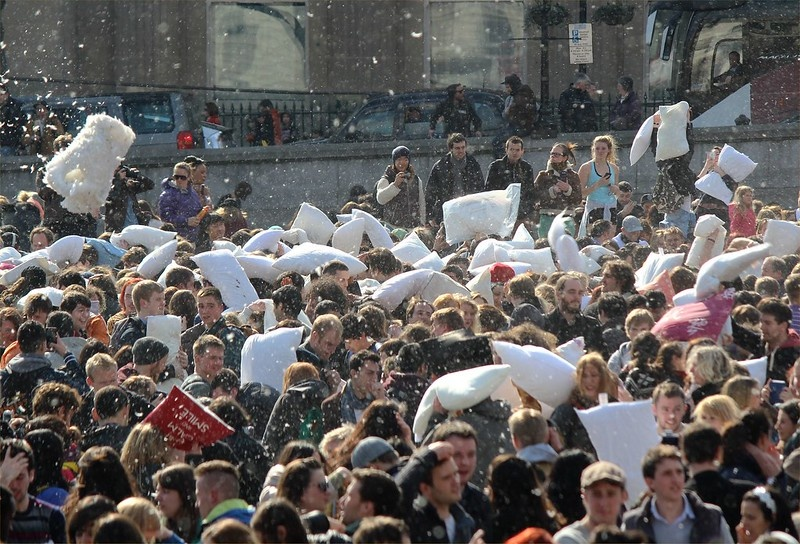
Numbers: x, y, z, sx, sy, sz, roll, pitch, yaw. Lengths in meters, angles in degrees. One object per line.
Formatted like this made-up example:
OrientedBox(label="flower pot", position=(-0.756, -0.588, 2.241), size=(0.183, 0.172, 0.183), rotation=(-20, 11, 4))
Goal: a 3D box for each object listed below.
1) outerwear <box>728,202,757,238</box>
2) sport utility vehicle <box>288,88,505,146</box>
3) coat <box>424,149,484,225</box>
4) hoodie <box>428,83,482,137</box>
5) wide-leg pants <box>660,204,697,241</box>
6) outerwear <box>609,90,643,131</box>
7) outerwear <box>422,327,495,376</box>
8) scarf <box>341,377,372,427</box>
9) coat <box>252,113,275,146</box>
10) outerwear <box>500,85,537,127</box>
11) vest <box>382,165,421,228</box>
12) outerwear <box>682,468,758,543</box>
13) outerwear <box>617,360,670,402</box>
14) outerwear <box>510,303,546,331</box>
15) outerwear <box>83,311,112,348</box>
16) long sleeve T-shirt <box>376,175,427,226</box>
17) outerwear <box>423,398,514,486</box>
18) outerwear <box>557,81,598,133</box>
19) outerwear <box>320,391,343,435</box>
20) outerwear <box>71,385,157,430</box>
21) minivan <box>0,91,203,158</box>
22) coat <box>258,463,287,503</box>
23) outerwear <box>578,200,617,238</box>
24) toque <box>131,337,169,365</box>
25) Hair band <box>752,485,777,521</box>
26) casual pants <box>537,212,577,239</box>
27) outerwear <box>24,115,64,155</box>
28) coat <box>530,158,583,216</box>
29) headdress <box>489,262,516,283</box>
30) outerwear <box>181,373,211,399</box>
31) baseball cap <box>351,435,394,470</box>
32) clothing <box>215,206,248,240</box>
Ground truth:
OrientedBox(label="outerwear", position=(4.721, -0.647, 28.739), size=(0.499, 0.500, 0.289), rotation=(3, -10, -40))
OrientedBox(label="sport utility vehicle", position=(0.328, -2.412, 33.224), size=(2.621, 1.263, 1.142), rotation=(1, 3, 7))
OrientedBox(label="coat", position=(0.767, -1.081, 29.030), size=(0.818, 1.058, 0.510), rotation=(1, 11, 1))
OrientedBox(label="hoodie", position=(0.863, -2.483, 32.115), size=(0.792, 0.901, 1.130), rotation=(1, 11, 1))
OrientedBox(label="wide-leg pants", position=(3.934, -0.646, 29.333), size=(0.474, 0.394, 0.515), rotation=(2, 11, 9))
OrientedBox(label="outerwear", position=(3.647, -2.606, 33.796), size=(0.534, 0.636, 0.590), rotation=(6, 12, 26))
OrientedBox(label="outerwear", position=(0.635, 0.978, 22.810), size=(0.587, 0.417, 0.465), rotation=(-11, -7, 15))
OrientedBox(label="scarf", position=(-0.494, 1.514, 22.423), size=(0.356, 0.421, 0.259), rotation=(7, 13, 29))
OrientedBox(label="coat", position=(-2.253, -2.355, 34.461), size=(0.359, 0.568, 0.271), rotation=(0, 11, 1))
OrientedBox(label="outerwear", position=(1.889, -2.504, 32.017), size=(0.410, 0.749, 0.702), rotation=(2, 9, 24))
OrientedBox(label="vest", position=(0.069, -1.085, 29.129), size=(0.665, 0.941, 0.500), rotation=(-14, 39, -16))
OrientedBox(label="outerwear", position=(3.261, 2.428, 20.935), size=(0.864, 0.643, 0.323), rotation=(18, -19, -2))
OrientedBox(label="outerwear", position=(2.720, 1.253, 23.007), size=(0.452, 0.181, 0.532), rotation=(-11, 10, 13))
OrientedBox(label="outerwear", position=(1.493, 0.586, 24.090), size=(0.356, 0.500, 0.279), rotation=(3, 8, 16))
OrientedBox(label="outerwear", position=(-3.482, 0.752, 24.050), size=(0.333, 0.344, 0.130), rotation=(-24, 9, -29))
OrientedBox(label="long sleeve T-shirt", position=(0.037, -0.967, 29.114), size=(0.753, 0.860, 0.494), rotation=(-1, 2, -32))
OrientedBox(label="outerwear", position=(0.726, 2.097, 22.300), size=(0.733, 1.007, 1.005), rotation=(-2, 44, 2))
OrientedBox(label="outerwear", position=(2.864, -2.699, 33.385), size=(0.605, 0.987, 1.155), rotation=(2, 11, 8))
OrientedBox(label="outerwear", position=(-0.728, 1.634, 22.491), size=(0.327, 0.359, 0.149), rotation=(-20, -16, 30))
OrientedBox(label="outerwear", position=(-3.104, 1.675, 22.579), size=(0.563, 0.240, 0.643), rotation=(-1, 19, 44))
OrientedBox(label="minivan", position=(-4.530, -2.493, 33.186), size=(2.299, 1.177, 1.319), rotation=(2, 1, -5))
OrientedBox(label="coat", position=(-1.330, 2.315, 21.521), size=(0.139, 0.374, 0.356), rotation=(19, -21, -30))
OrientedBox(label="outerwear", position=(2.703, -0.711, 28.983), size=(0.488, 0.632, 0.405), rotation=(15, 9, 27))
OrientedBox(label="toque", position=(-2.745, 0.939, 22.971), size=(0.336, 0.274, 0.266), rotation=(-12, 18, -28))
OrientedBox(label="Hair band", position=(3.621, 2.440, 20.768), size=(0.273, 0.263, 0.067), rotation=(3, 11, 40))
OrientedBox(label="casual pants", position=(2.129, -0.576, 28.147), size=(0.512, 0.455, 1.165), rotation=(1, 11, 5))
OrientedBox(label="outerwear", position=(-5.525, -2.059, 31.996), size=(0.618, 0.765, 0.408), rotation=(-3, 39, -15))
OrientedBox(label="coat", position=(2.114, -1.131, 28.494), size=(0.760, 0.937, 0.604), rotation=(0, -7, -8))
OrientedBox(label="headdress", position=(1.264, 0.092, 25.460), size=(0.347, 0.218, 0.351), rotation=(8, 14, 35))
OrientedBox(label="outerwear", position=(-2.217, 1.265, 22.751), size=(0.351, 0.361, 0.198), rotation=(8, 16, 17))
OrientedBox(label="baseball cap", position=(-0.285, 1.964, 21.301), size=(0.273, 0.215, 0.384), rotation=(-19, 0, -29))
OrientedBox(label="clothing", position=(-2.263, -0.639, 28.506), size=(0.459, 0.482, 0.353), rotation=(-15, 13, -21))
